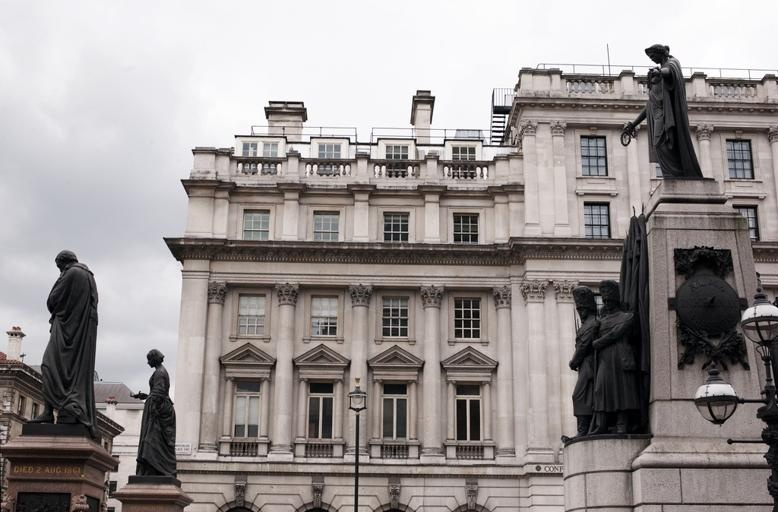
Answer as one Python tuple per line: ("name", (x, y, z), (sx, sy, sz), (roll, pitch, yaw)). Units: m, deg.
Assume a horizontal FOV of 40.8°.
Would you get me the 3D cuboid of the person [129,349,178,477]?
("person", (-6.147, 4.206, 28.023), (0.948, 3.456, 0.749), (5, -26, -13))
